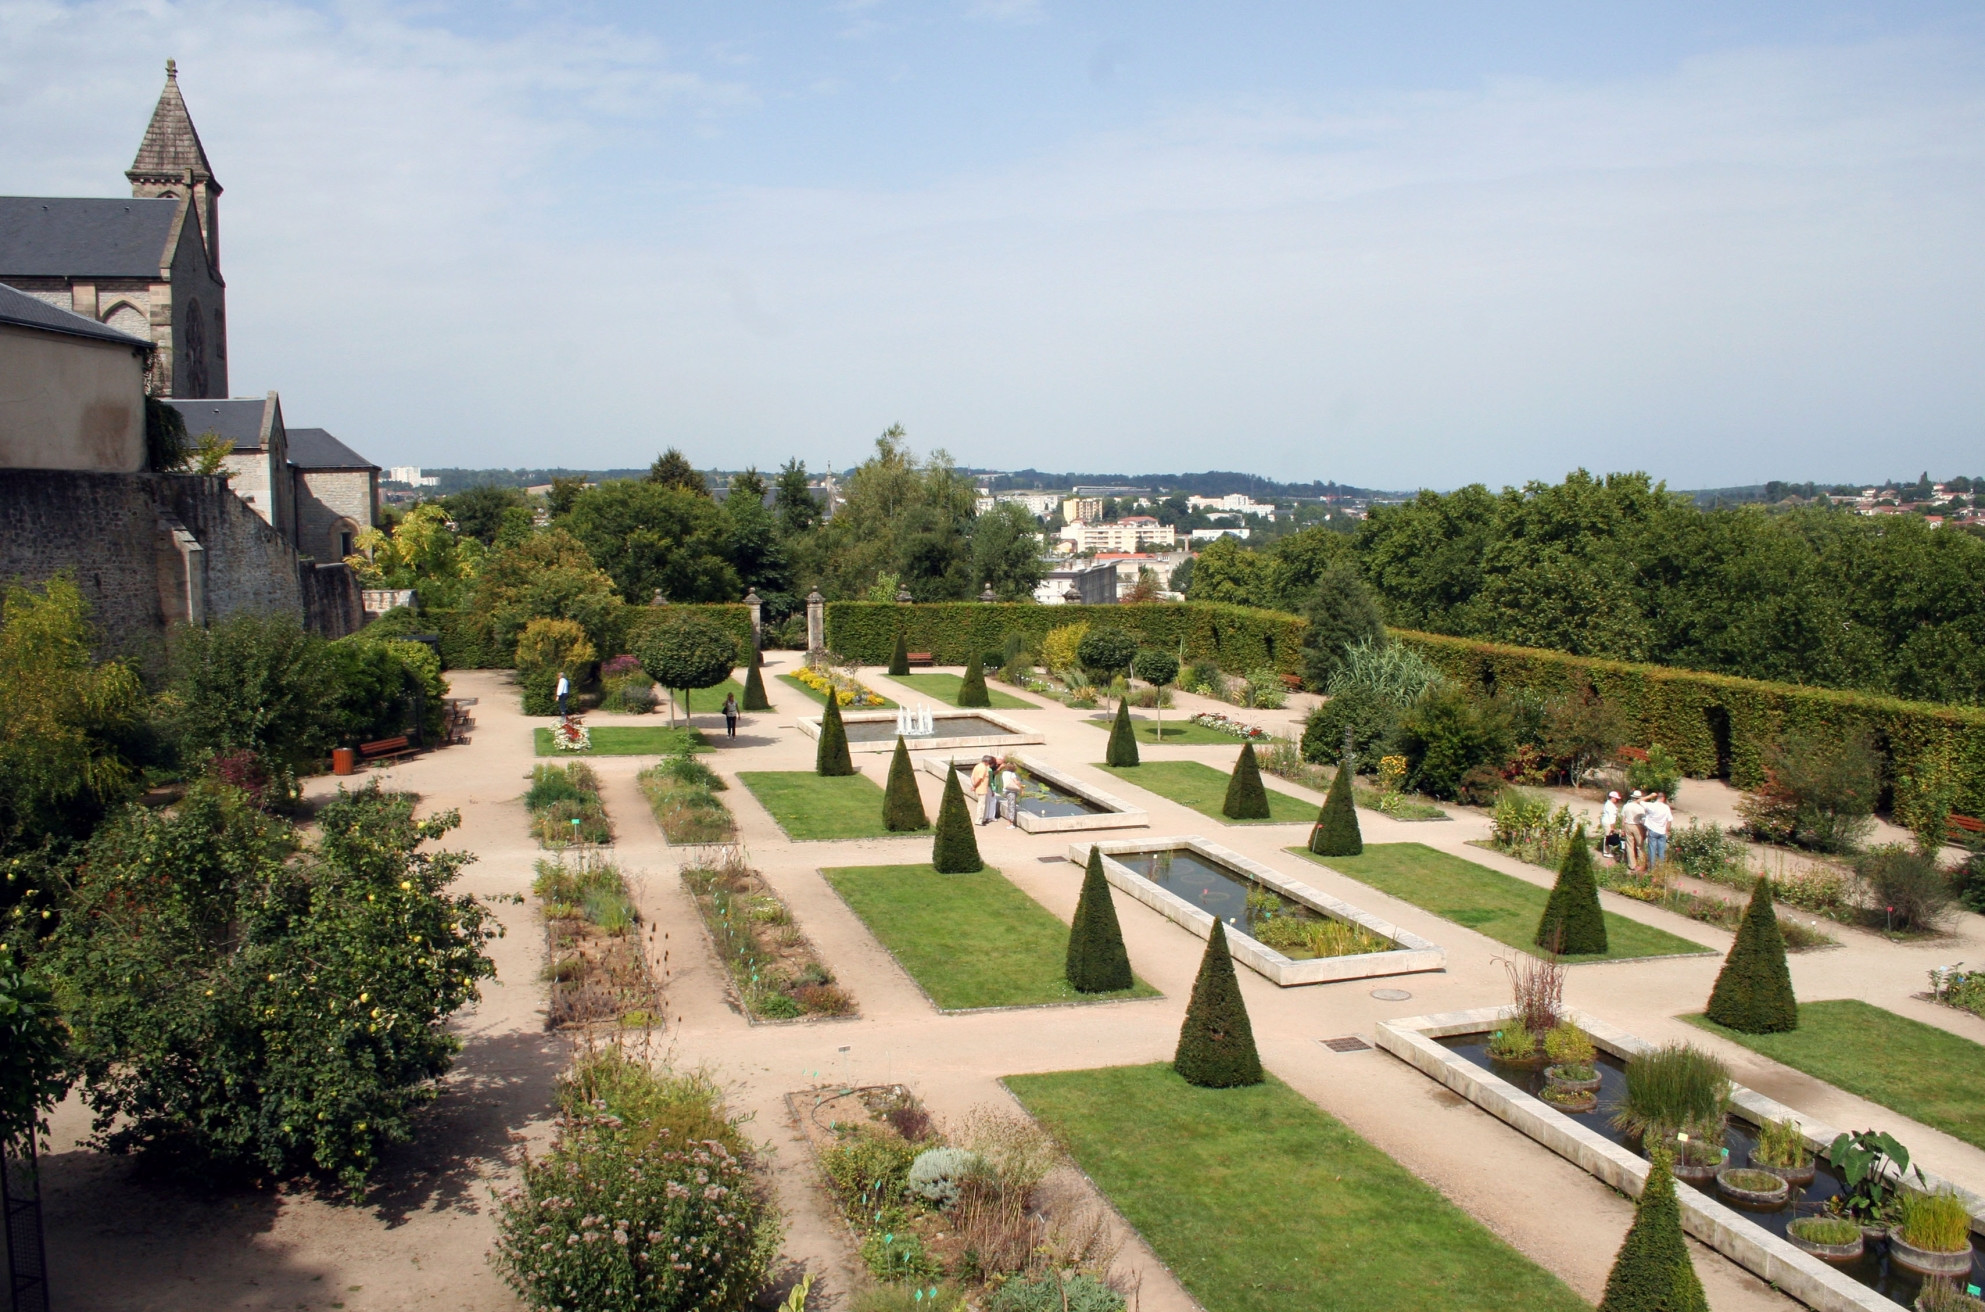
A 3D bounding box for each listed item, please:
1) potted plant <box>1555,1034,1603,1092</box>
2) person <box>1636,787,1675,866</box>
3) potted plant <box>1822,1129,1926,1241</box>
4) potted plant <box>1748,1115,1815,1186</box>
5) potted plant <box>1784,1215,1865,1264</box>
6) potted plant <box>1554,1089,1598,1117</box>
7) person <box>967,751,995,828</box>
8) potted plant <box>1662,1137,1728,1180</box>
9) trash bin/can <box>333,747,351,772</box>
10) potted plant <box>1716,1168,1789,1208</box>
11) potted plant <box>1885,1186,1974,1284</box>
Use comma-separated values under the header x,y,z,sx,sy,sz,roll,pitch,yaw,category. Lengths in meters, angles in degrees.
x,y,z,sx,sy,sz,roll,pitch,yaw,category
8.093,5.702,20.957,0.549,0.478,0.696,0,11,2,potted plant
12.856,3.376,29.192,0.567,1.194,1.024,8,11,33,person
10.905,6.495,18.710,1.140,1.162,1.050,-1,2,14,potted plant
10.072,6.311,19.291,0.686,0.751,0.691,2,13,12,potted plant
10.029,7.021,17.979,0.938,0.402,0.452,1,9,1,potted plant
8.001,6.085,20.499,0.752,0.163,0.388,-2,10,-17,potted plant
-0.133,2.831,32.352,0.566,1.291,1.347,1,9,-2,person
9.017,6.461,19.187,0.649,0.395,0.444,3,10,13,potted plant
-14.869,2.386,34.637,0.428,0.611,0.587,-4,11,-29,trash bin/can
9.547,6.667,18.787,0.881,0.333,0.395,2,9,5,potted plant
11.173,6.905,17.846,0.913,0.948,0.926,0,-1,1,potted plant
